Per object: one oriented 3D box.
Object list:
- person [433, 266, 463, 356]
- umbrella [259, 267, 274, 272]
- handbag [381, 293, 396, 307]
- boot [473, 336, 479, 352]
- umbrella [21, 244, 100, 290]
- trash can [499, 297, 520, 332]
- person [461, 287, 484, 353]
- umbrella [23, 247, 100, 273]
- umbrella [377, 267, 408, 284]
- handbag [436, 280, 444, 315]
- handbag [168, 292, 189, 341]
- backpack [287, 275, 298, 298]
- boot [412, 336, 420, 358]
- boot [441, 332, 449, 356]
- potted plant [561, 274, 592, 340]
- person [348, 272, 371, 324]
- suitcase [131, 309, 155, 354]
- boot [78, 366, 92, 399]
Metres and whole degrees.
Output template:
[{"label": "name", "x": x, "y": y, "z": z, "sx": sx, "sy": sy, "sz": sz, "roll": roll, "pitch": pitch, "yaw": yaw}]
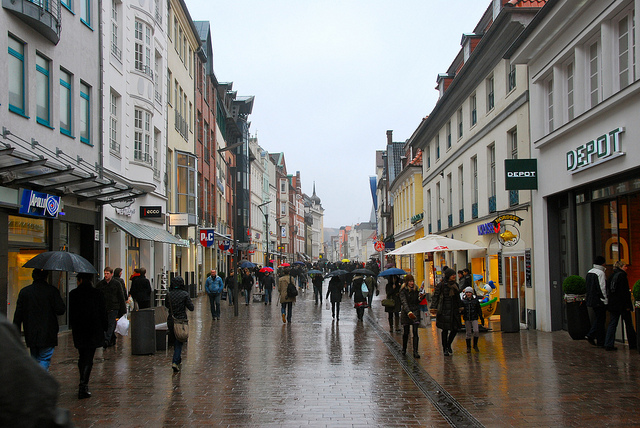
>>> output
[{"label": "person", "x": 3.405, "y": 2.602, "z": 16.129, "sx": 0.671, "sy": 2.298, "sz": 0.782, "roll": -3, "pitch": -11, "yaw": 18}, {"label": "umbrella", "x": -3.178, "y": 3.218, "z": 34.885, "sx": 0.876, "sy": 0.334, "sz": 0.944, "roll": 0, "pitch": -6, "yaw": 1}, {"label": "handbag", "x": 2.350, "y": 2.955, "z": 20.530, "sx": 0.358, "sy": 0.535, "sz": 0.204, "roll": 0, "pitch": -33, "yaw": 7}, {"label": "boot", "x": 4.362, "y": 3.628, "z": 16.800, "sx": 0.152, "sy": 0.428, "sz": 0.595, "roll": -2, "pitch": -12, "yaw": 14}, {"label": "umbrella", "x": -5.953, "y": 1.340, "z": 13.565, "sx": 1.108, "sy": 0.934, "sz": 1.178, "roll": 6, "pitch": -2, "yaw": 23}, {"label": "trash can", "x": 6.340, "y": 3.347, "z": 20.070, "sx": 0.570, "sy": 1.124, "sz": 0.756, "roll": -3, "pitch": -12, "yaw": 17}, {"label": "person", "x": 4.302, "y": 3.009, "z": 17.010, "sx": 0.511, "sy": 1.801, "sz": 1.261, "roll": -2, "pitch": -11, "yaw": 15}, {"label": "umbrella", "x": -6.874, "y": 1.174, "z": 15.686, "sx": 0.907, "sy": 0.347, "sz": 0.980, "roll": 5, "pitch": -8, "yaw": 1}, {"label": "umbrella", "x": 2.727, "y": 2.173, "z": 21.892, "sx": 0.624, "sy": 0.440, "sz": 0.638, "roll": 8, "pitch": -13, "yaw": -40}, {"label": "handbag", "x": 3.255, "y": 2.316, "z": 16.150, "sx": 0.215, "sy": 0.701, "sz": 0.475, "roll": 1, "pitch": -8, "yaw": 11}, {"label": "handbag", "x": -3.344, "y": 2.322, "z": 14.119, "sx": 0.465, "sy": 1.663, "sz": 0.174, "roll": -4, "pitch": 33, "yaw": -15}, {"label": "backpack", "x": -1.107, "y": 2.811, "z": 23.139, "sx": 0.323, "sy": 0.823, "sz": 0.471, "roll": 1, "pitch": -11, "yaw": -4}, {"label": "boot", "x": 2.530, "y": 3.496, "z": 15.811, "sx": 0.166, "sy": 0.566, "sz": 0.420, "roll": -1, "pitch": -11, "yaw": 7}, {"label": "boot", "x": 3.393, "y": 3.503, "z": 16.221, "sx": 0.154, "sy": 0.611, "sz": 0.269, "roll": -1, "pitch": -11, "yaw": 7}, {"label": "potted plant", "x": 7.607, "y": 2.766, "z": 17.788, "sx": 0.656, "sy": 1.858, "sz": 0.805, "roll": -6, "pitch": -13, "yaw": 32}, {"label": "person", "x": 1.627, "y": 3.169, "z": 23.936, "sx": 0.807, "sy": 2.024, "sz": 0.859, "roll": -1, "pitch": 14, "yaw": 25}, {"label": "suitcase", "x": -4.852, "y": 3.211, "z": 16.374, "sx": 0.665, "sy": 1.158, "sz": 0.529, "roll": 4, "pitch": -11, "yaw": -17}, {"label": "boot", "x": -4.775, "y": 3.404, "z": 12.168, "sx": 0.241, "sy": 0.628, "sz": 0.356, "roll": 5, "pitch": -12, "yaw": -22}]
